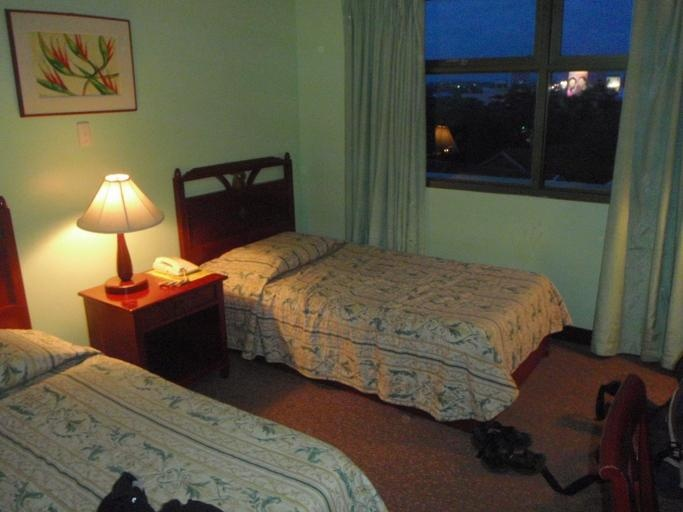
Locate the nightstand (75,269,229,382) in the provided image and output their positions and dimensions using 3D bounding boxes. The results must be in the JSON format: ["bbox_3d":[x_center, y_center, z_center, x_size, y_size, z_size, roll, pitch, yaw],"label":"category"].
[{"bbox_3d":[-1.305,0.434,3.940,0.742,0.883,0.888,8,18,26],"label":"nightstand"}]

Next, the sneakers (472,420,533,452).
[{"bbox_3d":[0.972,1.126,3.332,0.330,0.094,0.222,16,26,37],"label":"sneakers"}]

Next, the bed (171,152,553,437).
[{"bbox_3d":[0.065,0.149,4.823,3.003,2.037,1.720,14,25,29],"label":"bed"}]

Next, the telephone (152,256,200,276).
[{"bbox_3d":[-1.216,0.069,3.916,0.217,0.069,0.163,7,17,25],"label":"telephone"}]

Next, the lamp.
[{"bbox_3d":[-1.453,-0.221,3.939,0.698,1.064,0.729,-4,20,-20],"label":"lamp"}]
